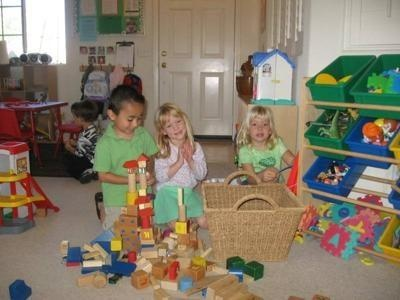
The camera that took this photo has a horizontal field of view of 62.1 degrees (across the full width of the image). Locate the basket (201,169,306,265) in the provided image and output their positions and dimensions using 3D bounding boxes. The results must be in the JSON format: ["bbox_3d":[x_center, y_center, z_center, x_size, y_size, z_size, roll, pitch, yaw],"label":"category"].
[{"bbox_3d":[0.267,0.362,1.870,0.491,0.355,0.421,-1,12,-2],"label":"basket"}]

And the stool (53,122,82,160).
[{"bbox_3d":[-1.626,-0.112,4.073,0.364,0.393,0.366,11,18,6],"label":"stool"}]

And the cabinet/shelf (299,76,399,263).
[{"bbox_3d":[0.845,0.084,1.874,0.645,0.948,0.321,11,15,43],"label":"cabinet/shelf"}]
